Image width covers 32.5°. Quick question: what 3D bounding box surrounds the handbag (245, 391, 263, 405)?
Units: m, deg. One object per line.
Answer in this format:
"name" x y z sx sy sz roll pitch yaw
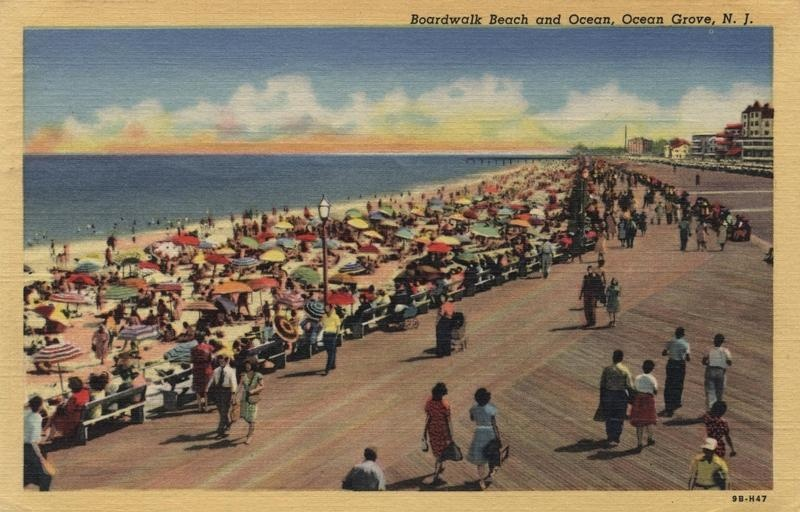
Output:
"handbag" -4.447 4.415 42.863 0.461 0.350 0.296 4 5 18

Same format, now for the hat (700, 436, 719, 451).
"hat" 9.243 5.575 40.865 0.367 0.137 0.474 0 13 28

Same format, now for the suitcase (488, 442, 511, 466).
"suitcase" 3.018 6.024 41.628 0.568 0.581 1.045 0 3 24

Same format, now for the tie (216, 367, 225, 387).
"tie" -5.475 3.744 42.848 0.258 0.560 0.114 -4 9 18
